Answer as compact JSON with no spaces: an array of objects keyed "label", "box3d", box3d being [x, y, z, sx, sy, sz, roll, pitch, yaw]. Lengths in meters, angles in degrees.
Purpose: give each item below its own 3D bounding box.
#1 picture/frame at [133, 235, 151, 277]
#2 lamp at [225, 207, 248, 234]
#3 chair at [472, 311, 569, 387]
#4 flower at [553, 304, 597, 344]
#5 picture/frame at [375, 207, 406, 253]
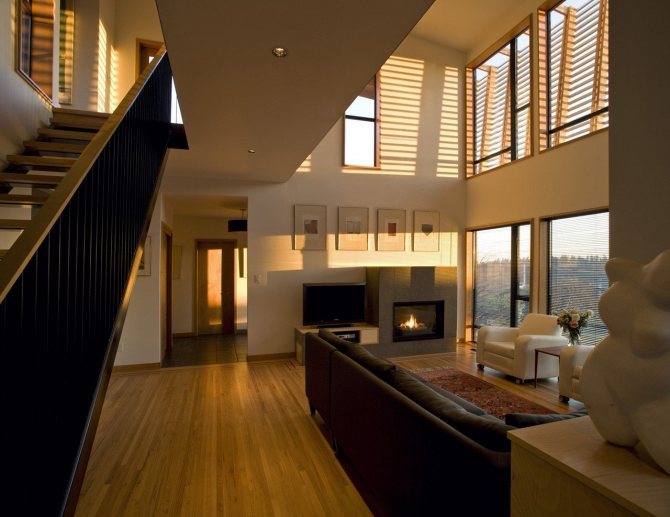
[{"label":"picture/frame","box3d":[-2.476,-0.017,6.329,0.189,0.545,0.209,-2,4,-21]},{"label":"lamp","box3d":[-1.631,-0.610,8.058,0.379,0.461,0.397,1,-3,-1]},{"label":"chair","box3d":[2.249,1.129,6.091,0.719,0.909,0.948,2,-5,-18]},{"label":"flower","box3d":[2.887,0.760,5.812,0.443,0.570,0.408,0,-5,-6]},{"label":"picture/frame","box3d":[0.856,-0.437,7.780,0.610,0.925,0.071,1,-2,-25]}]
